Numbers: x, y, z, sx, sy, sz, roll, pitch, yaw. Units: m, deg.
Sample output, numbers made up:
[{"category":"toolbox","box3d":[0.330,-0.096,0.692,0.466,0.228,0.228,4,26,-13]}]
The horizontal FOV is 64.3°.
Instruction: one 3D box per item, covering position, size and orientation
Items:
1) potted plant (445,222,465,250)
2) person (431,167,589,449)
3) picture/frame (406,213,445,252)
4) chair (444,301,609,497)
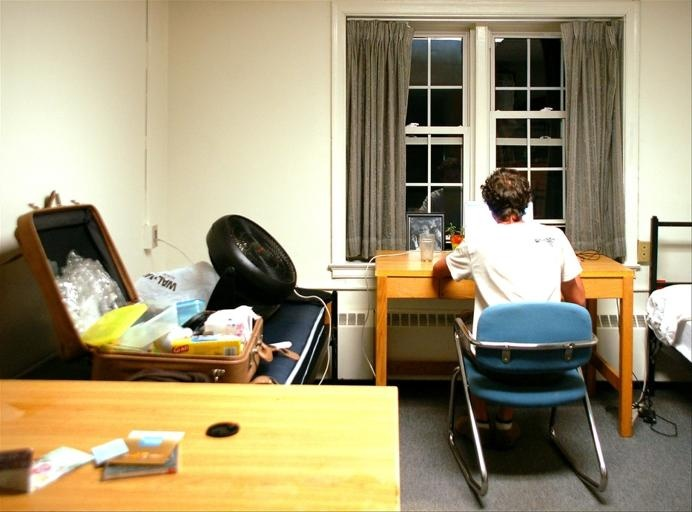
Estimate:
[{"category":"potted plant","box3d":[0.746,-0.143,3.851,0.198,0.212,0.133,2,-2,-3]},{"category":"person","box3d":[0.871,0.359,3.027,0.603,1.613,0.905,0,6,-18]},{"category":"picture/frame","box3d":[0.546,-0.154,3.794,0.277,0.343,0.030,1,-29,4]},{"category":"chair","box3d":[0.904,0.654,2.833,0.630,0.953,0.818,-2,5,-2]}]
